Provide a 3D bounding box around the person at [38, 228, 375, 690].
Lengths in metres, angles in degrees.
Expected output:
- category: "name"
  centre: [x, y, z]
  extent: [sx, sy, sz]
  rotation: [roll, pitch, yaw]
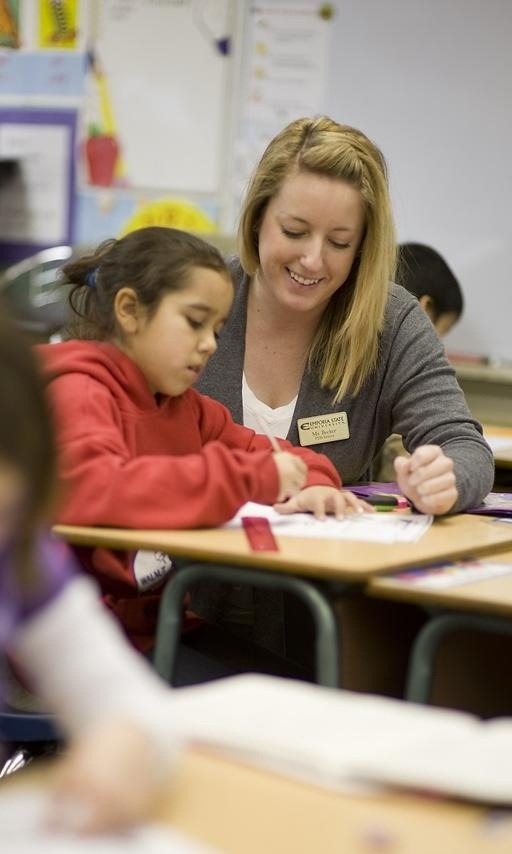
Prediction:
- category: "person"
  centre: [-0.175, -0.011, 1.425]
  extent: [0.690, 0.964, 0.522]
  rotation: [2, 0, 13]
